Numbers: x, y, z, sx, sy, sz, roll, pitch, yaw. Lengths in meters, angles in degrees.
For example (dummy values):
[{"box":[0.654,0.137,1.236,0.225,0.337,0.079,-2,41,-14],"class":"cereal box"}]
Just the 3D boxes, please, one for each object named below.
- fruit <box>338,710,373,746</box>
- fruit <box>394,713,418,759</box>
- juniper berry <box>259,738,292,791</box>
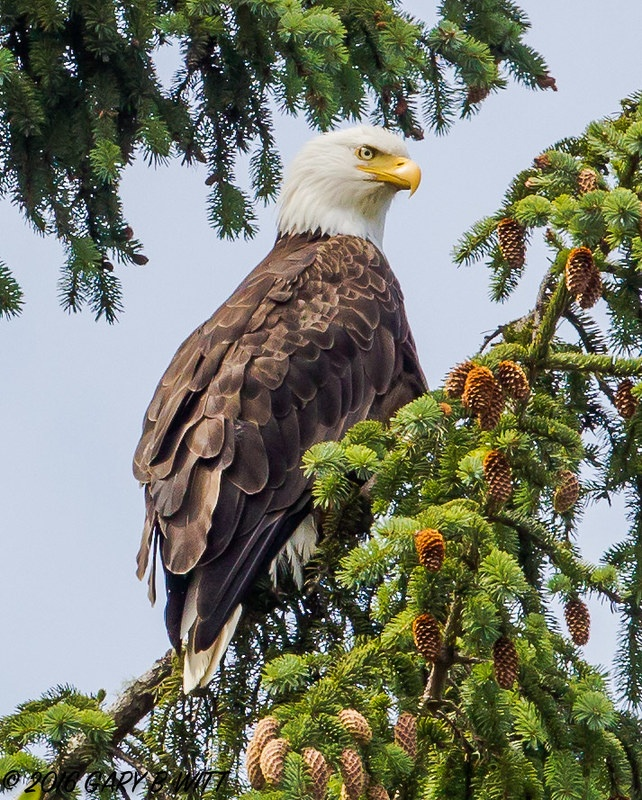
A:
[{"box":[0.086,0.823,5.079,0.085,0.067,0.036,37,-50,10],"class":"fruit"},{"box":[0.219,0.880,5.216,0.052,0.086,0.105,-2,-56,11],"class":"fruit"},{"box":[-0.122,0.908,4.950,0.061,0.094,0.081,-25,-88,-12],"class":"juniper berry"}]
